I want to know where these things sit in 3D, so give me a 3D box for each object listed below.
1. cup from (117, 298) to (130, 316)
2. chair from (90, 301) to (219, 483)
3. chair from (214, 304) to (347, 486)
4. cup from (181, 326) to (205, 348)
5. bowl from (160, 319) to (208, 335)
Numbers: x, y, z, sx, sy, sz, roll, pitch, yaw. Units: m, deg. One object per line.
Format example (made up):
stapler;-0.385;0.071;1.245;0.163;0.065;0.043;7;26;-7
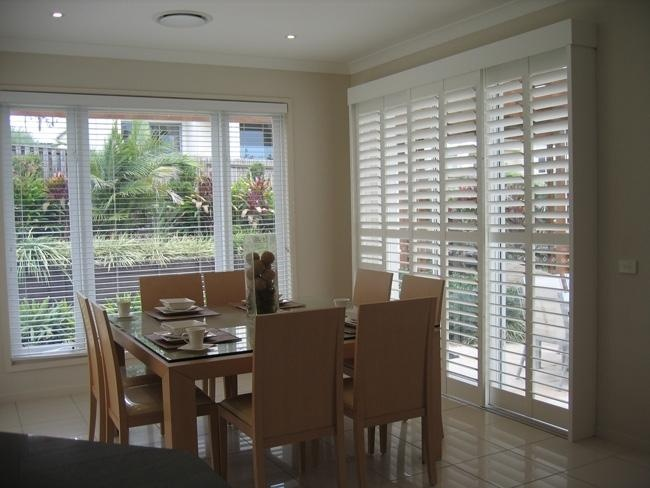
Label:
cup;-1.269;0.410;3.302;0.093;0.097;0.089;2;-1;0
chair;-1.088;0.726;3.134;0.826;1.153;0.797;-2;3;-26
chair;-0.236;0.764;2.518;0.670;0.917;0.370;-1;6;5
cup;-0.643;0.463;2.554;0.080;0.106;0.119;-1;1;-26
bowl;-0.795;0.451;2.828;0.162;0.040;0.160;-3;-2;0
